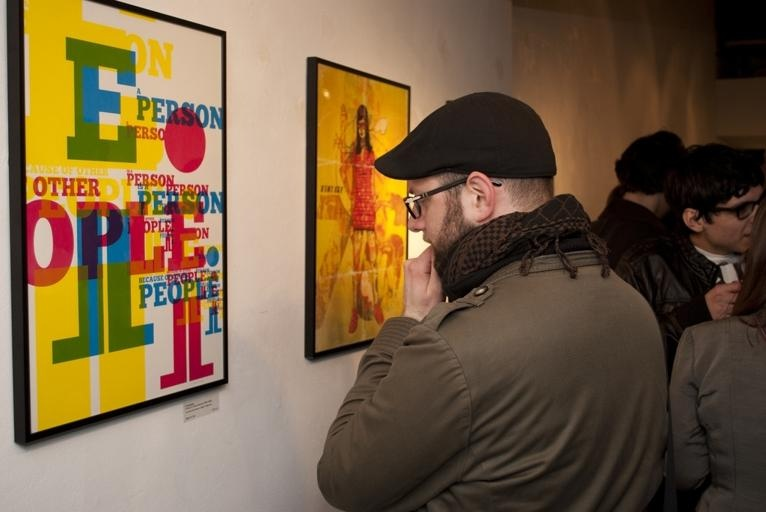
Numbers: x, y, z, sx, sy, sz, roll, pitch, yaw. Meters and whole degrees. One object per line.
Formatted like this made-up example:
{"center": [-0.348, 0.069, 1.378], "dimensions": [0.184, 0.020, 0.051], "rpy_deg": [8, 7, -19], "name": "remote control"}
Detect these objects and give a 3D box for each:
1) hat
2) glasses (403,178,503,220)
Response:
{"center": [0.243, -0.315, 1.689], "dimensions": [0.348, 0.195, 0.245], "rpy_deg": [11, 15, 16], "name": "hat"}
{"center": [0.153, -0.151, 1.707], "dimensions": [0.147, 0.045, 0.148], "rpy_deg": [-27, -1, 19], "name": "glasses"}
